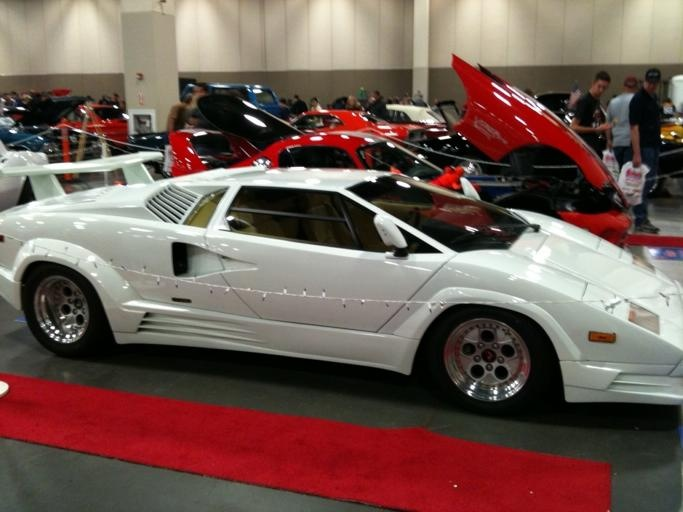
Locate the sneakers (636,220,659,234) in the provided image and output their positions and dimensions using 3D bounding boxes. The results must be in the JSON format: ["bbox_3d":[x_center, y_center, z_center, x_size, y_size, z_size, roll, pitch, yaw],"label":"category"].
[{"bbox_3d":[4.949,-0.466,7.311,0.400,0.160,0.194,5,11,41],"label":"sneakers"}]
